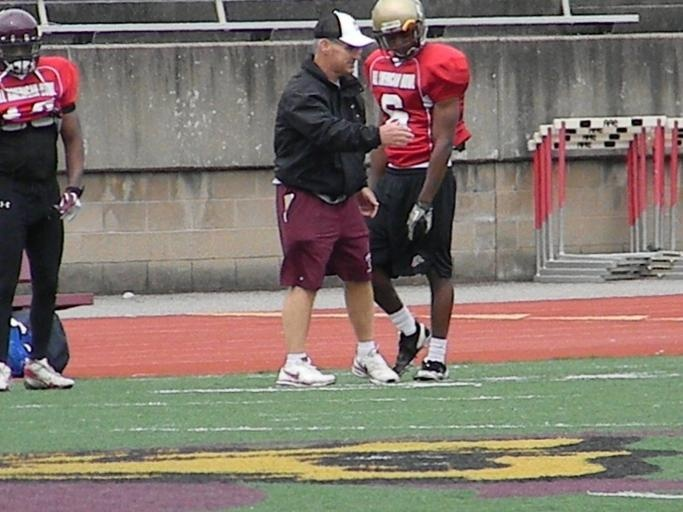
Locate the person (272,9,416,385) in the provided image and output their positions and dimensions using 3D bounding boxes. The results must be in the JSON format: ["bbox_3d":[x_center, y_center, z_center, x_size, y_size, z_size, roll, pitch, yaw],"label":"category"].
[{"bbox_3d":[-0.060,-0.378,12.141,0.829,2.499,0.485,-1,4,0],"label":"person"}]

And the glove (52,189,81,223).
[{"bbox_3d":[-1.830,-0.361,12.268,0.169,0.155,0.108,16,49,13],"label":"glove"}]

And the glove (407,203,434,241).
[{"bbox_3d":[0.513,-0.247,12.306,0.169,0.246,0.202,3,22,-5],"label":"glove"}]

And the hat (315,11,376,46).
[{"bbox_3d":[0.009,-1.534,12.236,0.479,0.197,0.298,14,17,7],"label":"hat"}]

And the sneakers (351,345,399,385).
[{"bbox_3d":[0.228,0.742,12.400,0.215,0.213,0.434,-12,20,-30],"label":"sneakers"}]

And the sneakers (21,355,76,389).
[{"bbox_3d":[-2.031,0.811,12.344,0.419,0.220,0.143,0,1,-9],"label":"sneakers"}]
